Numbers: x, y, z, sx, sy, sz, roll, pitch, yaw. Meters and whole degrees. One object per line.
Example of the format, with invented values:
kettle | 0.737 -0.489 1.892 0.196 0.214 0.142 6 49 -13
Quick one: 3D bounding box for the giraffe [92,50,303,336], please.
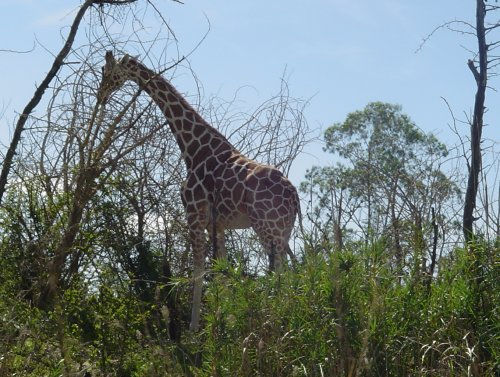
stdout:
giraffe | -0.568 0.178 8.725 2.310 3.903 1.869 -4 -24 16
